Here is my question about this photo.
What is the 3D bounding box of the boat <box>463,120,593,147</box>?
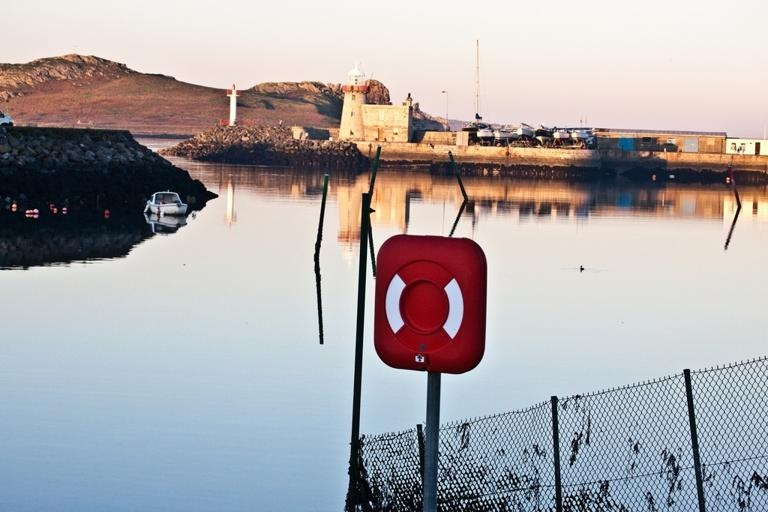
[{"bbox_3d":[12.877,-10.475,122.176,10.987,2.099,5.951,2,3,3],"label":"boat"}]

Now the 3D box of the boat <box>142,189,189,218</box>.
[{"bbox_3d":[-11.402,-2.591,71.510,1.614,1.241,1.894,-2,5,-44],"label":"boat"}]
